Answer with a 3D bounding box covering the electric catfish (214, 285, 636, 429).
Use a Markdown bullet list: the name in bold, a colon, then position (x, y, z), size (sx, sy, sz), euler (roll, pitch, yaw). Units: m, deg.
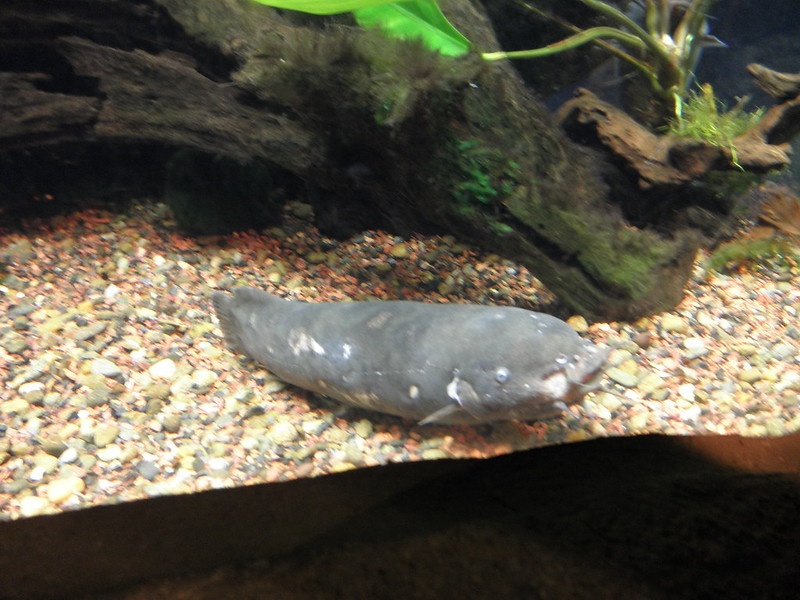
- **electric catfish**: position (0.036, 0.106, 1.560), size (0.869, 0.176, 0.330), euler (3, 10, 25)
